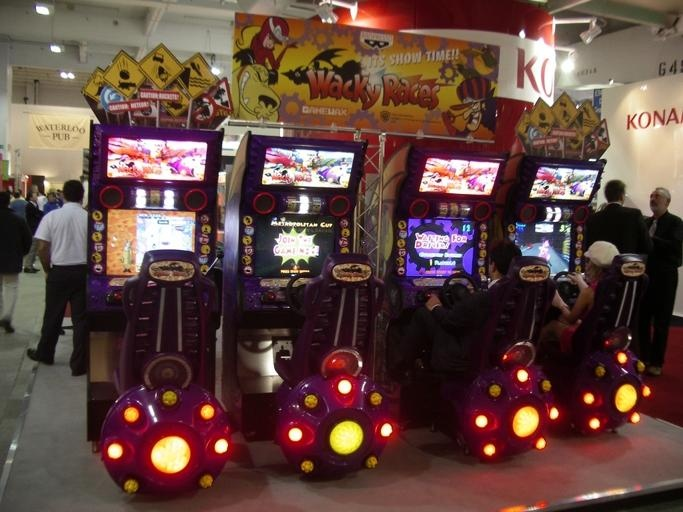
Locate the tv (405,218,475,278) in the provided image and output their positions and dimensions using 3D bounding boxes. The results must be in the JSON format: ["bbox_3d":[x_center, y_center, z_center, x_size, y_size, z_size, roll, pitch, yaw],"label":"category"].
[{"bbox_3d":[0.926,-0.087,5.116,0.554,0.442,0.007,-2,5,-16],"label":"tv"}]

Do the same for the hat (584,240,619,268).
[{"bbox_3d":[2.260,-0.047,4.555,0.185,0.143,0.260,10,35,19],"label":"hat"}]

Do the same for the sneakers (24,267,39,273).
[{"bbox_3d":[-7.346,0.342,12.463,0.101,0.088,0.241,-38,-15,20],"label":"sneakers"}]

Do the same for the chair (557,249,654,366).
[{"bbox_3d":[2.197,0.436,4.295,0.533,0.913,0.321,1,7,0],"label":"chair"}]

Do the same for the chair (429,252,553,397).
[{"bbox_3d":[1.182,0.429,4.226,0.816,1.113,1.077,-7,13,-28],"label":"chair"}]

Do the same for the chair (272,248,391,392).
[{"bbox_3d":[-0.075,0.494,3.933,0.771,1.179,0.895,-4,16,-28],"label":"chair"}]

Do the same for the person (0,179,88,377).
[{"bbox_3d":[-3.008,0.229,5.597,0.655,2.063,0.429,0,7,-6],"label":"person"}]

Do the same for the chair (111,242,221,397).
[{"bbox_3d":[-1.135,0.491,3.559,0.666,1.111,0.560,-4,8,-36],"label":"chair"}]

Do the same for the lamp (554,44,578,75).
[{"bbox_3d":[5.295,-4.692,12.384,0.422,0.715,1.727,4,8,21],"label":"lamp"}]

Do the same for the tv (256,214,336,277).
[{"bbox_3d":[-0.423,-0.087,4.525,0.532,0.397,0.026,0,4,-15],"label":"tv"}]
